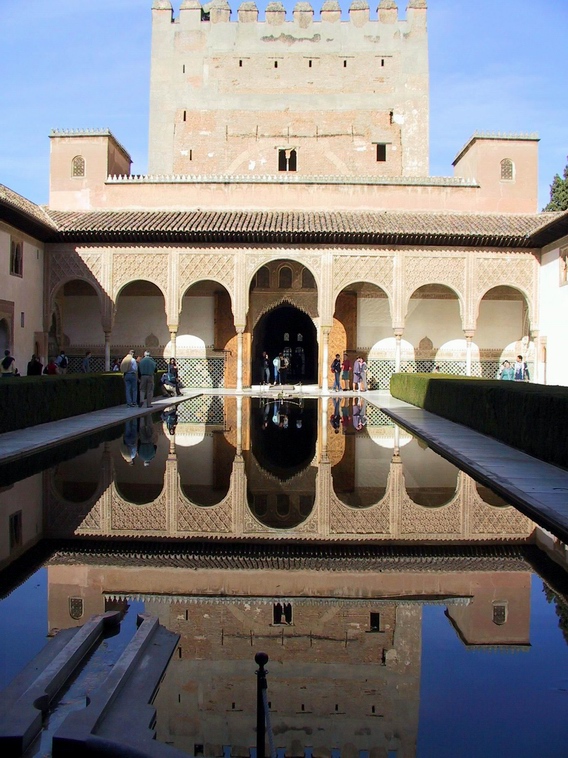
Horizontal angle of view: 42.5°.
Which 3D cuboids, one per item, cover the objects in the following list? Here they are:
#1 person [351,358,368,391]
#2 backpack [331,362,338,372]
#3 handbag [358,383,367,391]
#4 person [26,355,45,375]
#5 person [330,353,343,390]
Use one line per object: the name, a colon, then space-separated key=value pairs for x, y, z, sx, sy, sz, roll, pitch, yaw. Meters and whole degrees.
person: x=2.011 y=-0.072 z=19.717 sx=0.313 sy=0.820 sz=0.906 roll=0 pitch=1 yaw=0
backpack: x=1.314 y=-0.276 z=19.317 sx=0.115 sy=0.275 sz=0.415 roll=0 pitch=1 yaw=-11
handbag: x=2.088 y=0.247 z=19.660 sx=0.220 sy=0.279 sz=0.227 roll=4 pitch=13 yaw=7
person: x=-5.111 y=-0.270 z=14.987 sx=0.251 sy=0.378 sz=1.125 roll=-1 pitch=2 yaw=-21
person: x=1.382 y=-0.150 z=19.609 sx=0.306 sy=0.976 sz=1.049 roll=0 pitch=1 yaw=3
